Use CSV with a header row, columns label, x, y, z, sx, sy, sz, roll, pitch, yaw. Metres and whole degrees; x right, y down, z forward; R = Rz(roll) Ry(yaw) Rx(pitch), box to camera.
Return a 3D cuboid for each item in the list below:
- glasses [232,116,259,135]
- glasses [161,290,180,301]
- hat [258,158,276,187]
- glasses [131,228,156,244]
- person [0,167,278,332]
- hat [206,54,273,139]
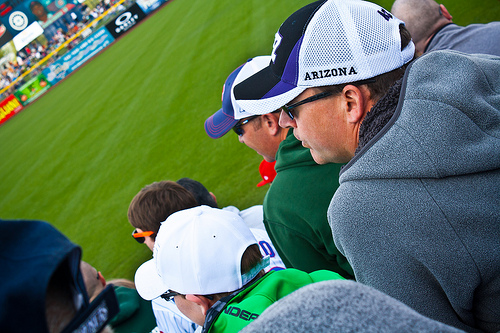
label,x,y,z,sx,sy,sz,roll,pitch,yaw
glasses,-0.026,-0.264,4.188,0.130,0.041,0.130,-38,5,-5
glasses,-0.458,0.747,3.561,0.083,0.120,0.047,-26,64,-1
hat,0.138,0.047,4.452,0.119,0.208,0.101,-19,42,-36
glasses,-0.741,0.468,4.268,0.105,0.049,0.140,-7,-2,35
person,-0.587,0.578,4.227,1.173,0.676,0.831,13,38,36
hat,-0.129,-0.455,4.294,0.599,0.337,0.400,-36,26,17
